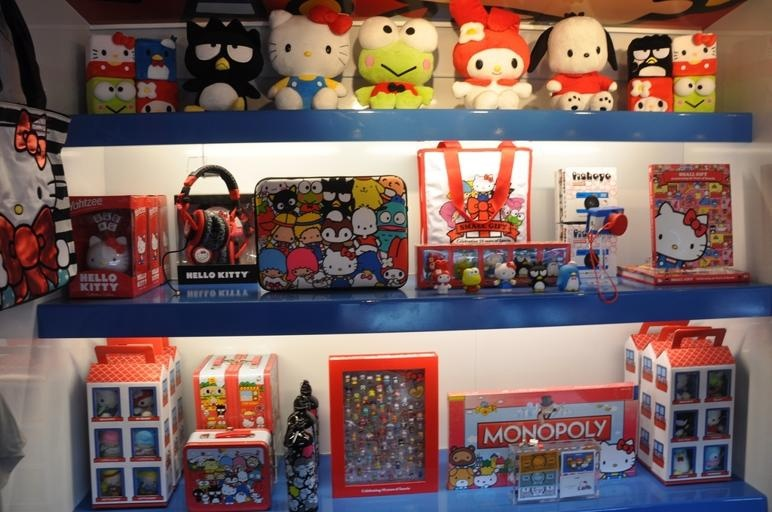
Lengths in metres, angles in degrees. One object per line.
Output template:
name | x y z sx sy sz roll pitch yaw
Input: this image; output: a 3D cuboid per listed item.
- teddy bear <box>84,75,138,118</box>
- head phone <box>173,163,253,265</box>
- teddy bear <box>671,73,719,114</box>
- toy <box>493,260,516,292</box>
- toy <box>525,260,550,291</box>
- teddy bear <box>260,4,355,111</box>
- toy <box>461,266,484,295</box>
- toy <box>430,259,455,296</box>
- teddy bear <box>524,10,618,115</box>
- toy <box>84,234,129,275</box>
teddy bear | -0.919 -0.513 2.178 0.140 0.118 0.145 -1 7 -28
head phone | -0.581 -0.115 2.188 0.259 0.357 0.131 -4 0 -6
teddy bear | 1.076 -0.566 2.275 0.157 0.144 0.089 1 3 6
toy | 0.392 0.064 2.137 0.095 0.123 0.075 2 -4 -8
toy | 0.504 0.065 2.176 0.085 0.130 0.053 1 -17 -3
teddy bear | -0.259 -0.660 2.186 0.275 0.277 0.244 -4 2 -18
toy | 0.277 0.076 2.116 0.083 0.119 0.072 -1 -1 -16
toy | 0.180 0.065 2.137 0.093 0.155 0.092 0 -5 -14
teddy bear | 0.667 -0.683 2.342 0.304 0.368 0.179 -2 2 20
toy | -0.903 -0.007 2.107 0.126 0.142 0.116 0 0 -3
